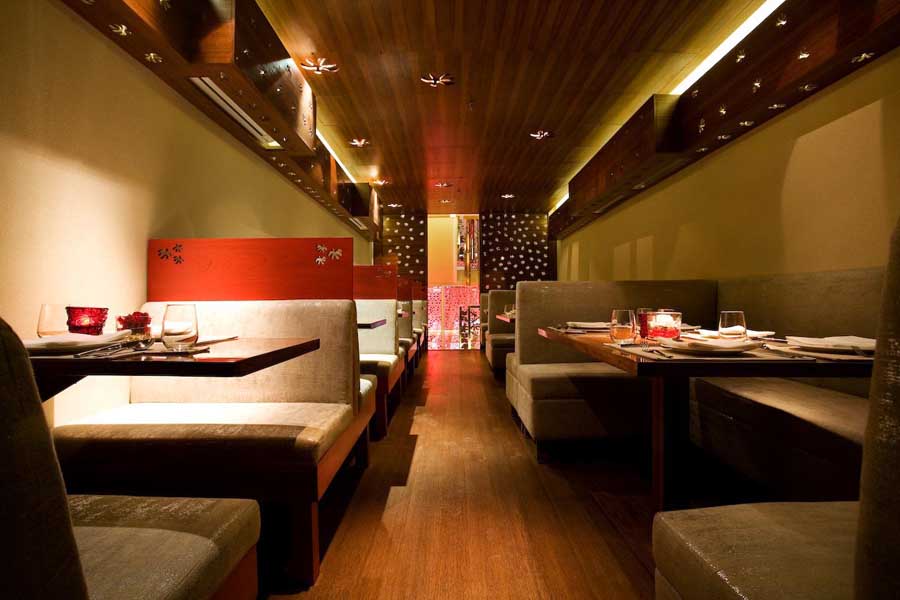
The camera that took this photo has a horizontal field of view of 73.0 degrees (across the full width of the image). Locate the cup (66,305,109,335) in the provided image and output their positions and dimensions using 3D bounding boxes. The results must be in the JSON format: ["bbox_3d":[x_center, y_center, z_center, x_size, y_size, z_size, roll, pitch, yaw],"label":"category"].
[{"bbox_3d":[-1.651,0.089,2.800,0.145,0.102,0.134,1,-4,0],"label":"cup"}]

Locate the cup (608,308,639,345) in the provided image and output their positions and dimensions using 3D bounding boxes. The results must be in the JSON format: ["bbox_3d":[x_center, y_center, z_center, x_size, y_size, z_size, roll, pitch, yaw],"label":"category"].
[{"bbox_3d":[0.854,0.124,3.001,0.162,0.190,0.147,-2,-1,5],"label":"cup"}]

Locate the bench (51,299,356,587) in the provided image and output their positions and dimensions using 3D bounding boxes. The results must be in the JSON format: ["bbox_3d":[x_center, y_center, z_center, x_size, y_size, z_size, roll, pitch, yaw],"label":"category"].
[{"bbox_3d":[-1.150,0.647,3.510,1.503,1.203,1.391,-2,-6,5],"label":"bench"}]

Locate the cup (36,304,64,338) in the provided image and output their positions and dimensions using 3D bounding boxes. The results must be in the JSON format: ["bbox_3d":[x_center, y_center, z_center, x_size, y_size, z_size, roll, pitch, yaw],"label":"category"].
[{"bbox_3d":[-1.755,0.087,2.698,0.126,0.139,0.150,1,-2,-20],"label":"cup"}]

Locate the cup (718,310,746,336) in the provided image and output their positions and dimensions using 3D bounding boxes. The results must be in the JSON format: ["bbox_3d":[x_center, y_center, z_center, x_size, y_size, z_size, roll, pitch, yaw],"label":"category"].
[{"bbox_3d":[1.373,0.106,2.980,0.122,0.112,0.119,-1,-2,0],"label":"cup"}]

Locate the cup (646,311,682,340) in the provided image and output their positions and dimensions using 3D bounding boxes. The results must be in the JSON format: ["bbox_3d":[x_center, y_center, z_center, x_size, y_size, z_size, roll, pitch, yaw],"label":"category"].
[{"bbox_3d":[1.099,0.129,3.121,0.148,0.107,0.150,0,-6,0],"label":"cup"}]

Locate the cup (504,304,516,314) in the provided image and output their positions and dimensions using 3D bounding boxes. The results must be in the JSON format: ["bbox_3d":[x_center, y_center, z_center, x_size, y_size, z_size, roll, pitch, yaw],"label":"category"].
[{"bbox_3d":[0.587,0.074,5.950,0.091,0.133,0.089,2,-3,0],"label":"cup"}]

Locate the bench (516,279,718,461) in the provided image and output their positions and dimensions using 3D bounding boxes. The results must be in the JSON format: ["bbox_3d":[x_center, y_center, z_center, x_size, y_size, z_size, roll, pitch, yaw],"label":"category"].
[{"bbox_3d":[0.989,0.412,4.088,1.241,0.884,1.162,1,-9,-4],"label":"bench"}]
